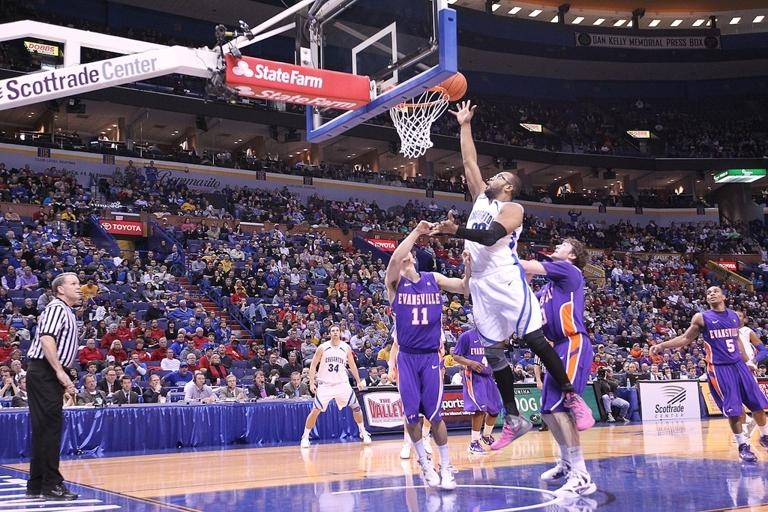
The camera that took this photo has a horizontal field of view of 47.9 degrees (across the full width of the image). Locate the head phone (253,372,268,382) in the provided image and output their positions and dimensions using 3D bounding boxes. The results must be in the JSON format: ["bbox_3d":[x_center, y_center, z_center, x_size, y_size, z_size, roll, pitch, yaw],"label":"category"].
[{"bbox_3d":[-3.280,3.168,22.818,0.230,0.271,0.280,0,-23,-19],"label":"head phone"}]

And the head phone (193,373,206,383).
[{"bbox_3d":[-4.678,3.058,21.800,0.239,0.252,0.278,2,-15,-17],"label":"head phone"}]
